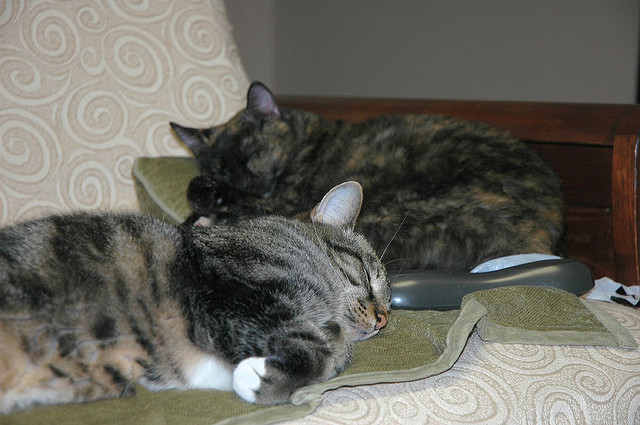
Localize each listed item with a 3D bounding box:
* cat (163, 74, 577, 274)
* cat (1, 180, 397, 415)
[{"bbox_3d":[0.006,-0.035,2.645,1.726,0.849,0.602,6,-17,12],"label":"cat"},{"bbox_3d":[-0.302,0.220,1.819,1.039,0.577,0.404,-1,11,-17],"label":"cat"}]
